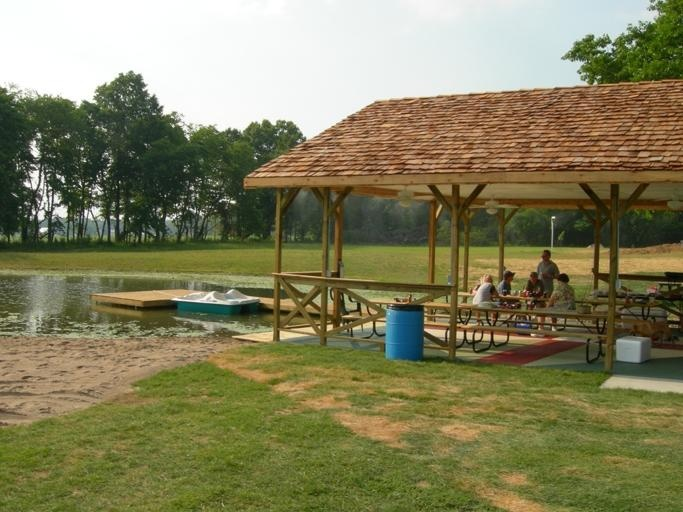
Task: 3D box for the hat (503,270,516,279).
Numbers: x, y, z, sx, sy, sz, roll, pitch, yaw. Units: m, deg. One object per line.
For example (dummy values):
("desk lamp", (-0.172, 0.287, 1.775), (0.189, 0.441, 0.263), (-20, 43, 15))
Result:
("hat", (4.332, 0.479, 18.942), (0.392, 0.175, 0.277), (-14, 16, -39))
